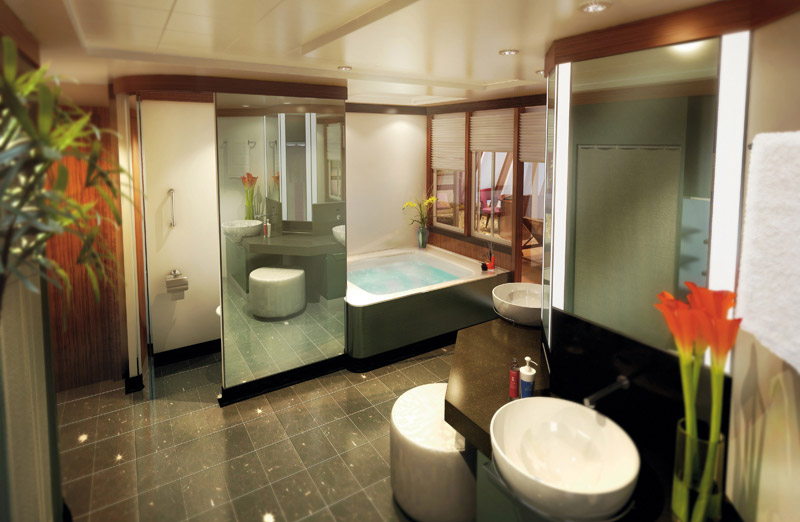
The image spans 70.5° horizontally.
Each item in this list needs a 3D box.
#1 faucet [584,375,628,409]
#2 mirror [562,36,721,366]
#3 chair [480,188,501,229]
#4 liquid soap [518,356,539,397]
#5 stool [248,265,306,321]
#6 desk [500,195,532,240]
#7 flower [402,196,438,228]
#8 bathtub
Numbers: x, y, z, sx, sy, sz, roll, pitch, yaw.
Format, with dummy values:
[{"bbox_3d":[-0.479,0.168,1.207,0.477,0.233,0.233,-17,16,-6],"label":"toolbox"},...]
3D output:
[{"bbox_3d":[1.047,0.653,2.837,0.185,0.045,0.046,-26,37,-35],"label":"faucet"},{"bbox_3d":[1.118,-0.311,2.809,0.661,1.302,0.012,4,26,21],"label":"mirror"},{"bbox_3d":[1.089,-0.635,6.787,0.237,0.407,0.296,-3,17,-10],"label":"chair"},{"bbox_3d":[0.692,0.635,3.062,0.092,0.219,0.089,-8,18,-17],"label":"liquid soap"},{"bbox_3d":[-1.105,0.270,4.974,0.470,0.335,0.461,7,15,13],"label":"stool"},{"bbox_3d":[1.203,-0.480,6.062,0.212,0.361,0.230,1,6,-5],"label":"desk"},{"bbox_3d":[0.264,-0.607,7.041,0.502,0.371,0.188,-14,18,-39],"label":"flower"},{"bbox_3d":[-0.015,0.352,6.202,1.923,0.622,1.517,-11,17,-31],"label":"bathtub"}]
